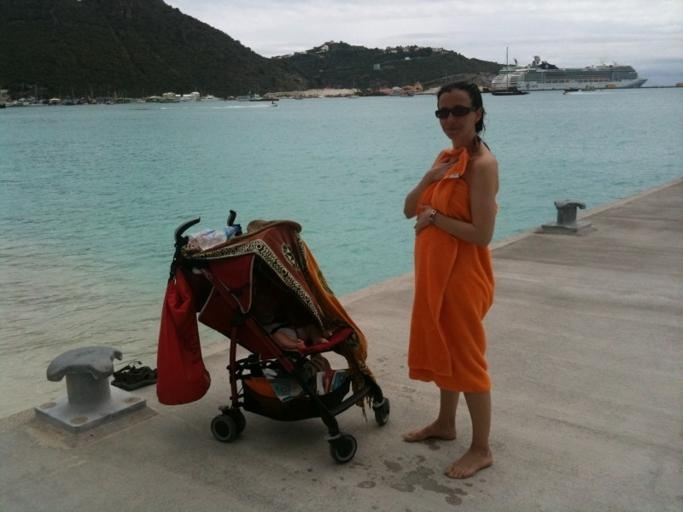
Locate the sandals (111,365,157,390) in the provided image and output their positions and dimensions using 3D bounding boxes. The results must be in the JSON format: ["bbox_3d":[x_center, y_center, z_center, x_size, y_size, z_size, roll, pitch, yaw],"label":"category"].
[{"bbox_3d":[-1.696,0.980,4.504,0.268,0.085,0.227,5,8,38],"label":"sandals"}]

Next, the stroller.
[{"bbox_3d":[-0.337,0.420,4.055,1.256,1.645,1.391,12,16,28],"label":"stroller"}]

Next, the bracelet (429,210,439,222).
[{"bbox_3d":[0.551,-0.242,3.375,0.047,0.063,0.065,4,23,18],"label":"bracelet"}]
